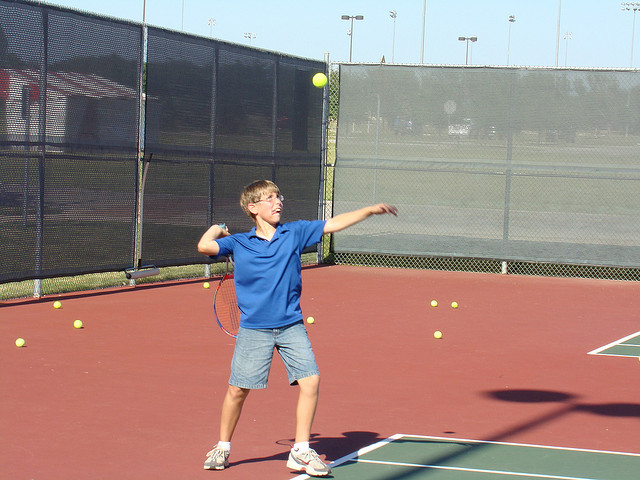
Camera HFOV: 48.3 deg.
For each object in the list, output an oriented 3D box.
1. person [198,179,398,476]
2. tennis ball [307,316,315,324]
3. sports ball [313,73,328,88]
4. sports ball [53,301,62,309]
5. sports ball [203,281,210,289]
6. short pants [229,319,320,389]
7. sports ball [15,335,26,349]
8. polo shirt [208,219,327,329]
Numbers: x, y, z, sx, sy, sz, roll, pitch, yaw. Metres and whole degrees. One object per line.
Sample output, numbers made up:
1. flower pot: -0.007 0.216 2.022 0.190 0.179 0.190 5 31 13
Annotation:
1. person: -0.318 0.632 5.058 1.002 2.068 0.394 2 7 6
2. tennis ball: -0.129 1.071 9.606 0.069 0.065 0.066 -18 11 4
3. sports ball: -0.004 -2.925 12.990 0.200 0.242 0.389 2 7 3
4. sports ball: -3.715 0.907 10.070 0.096 0.113 0.095 10 -7 1
5. sports ball: -1.870 0.723 11.847 0.093 0.092 0.111 3 -28 -29
6. short pants: -0.325 0.788 4.996 0.610 0.478 0.196 2 7 -1
7. sports ball: -3.445 1.151 8.130 0.124 0.146 0.124 -1 -8 0
8. polo shirt: -0.357 0.223 5.025 0.980 0.745 0.285 -5 -8 -10
